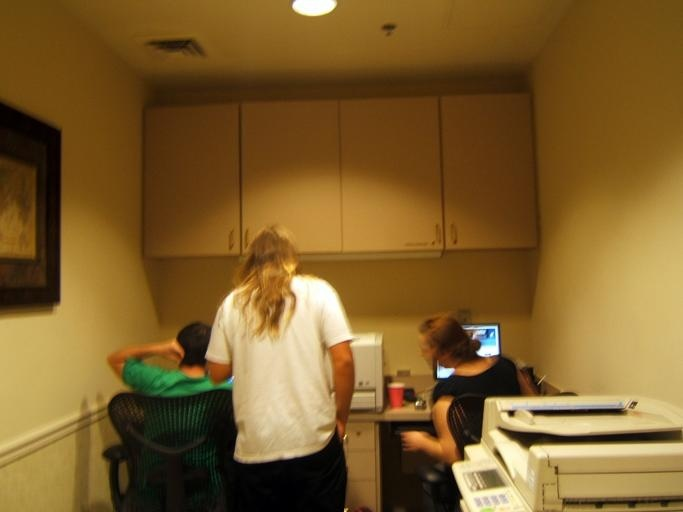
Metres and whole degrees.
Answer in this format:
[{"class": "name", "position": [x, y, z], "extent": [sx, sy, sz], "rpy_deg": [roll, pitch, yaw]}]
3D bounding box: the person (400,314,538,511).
[{"class": "person", "position": [0.499, 0.664, 2.641], "extent": [0.479, 0.959, 0.610], "rpy_deg": [1, -34, 1]}]

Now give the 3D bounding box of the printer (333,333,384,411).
[{"class": "printer", "position": [0.172, 0.668, 3.011], "extent": [0.223, 0.369, 0.263], "rpy_deg": [-4, -15, 24]}]

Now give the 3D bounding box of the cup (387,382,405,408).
[{"class": "cup", "position": [0.301, 0.757, 3.027], "extent": [0.103, 0.126, 0.110], "rpy_deg": [0, -5, 0]}]

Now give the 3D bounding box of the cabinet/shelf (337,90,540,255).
[{"class": "cabinet/shelf", "position": [0.571, -0.460, 3.176], "extent": [0.796, 0.668, 0.297], "rpy_deg": [-1, -5, 3]}]
